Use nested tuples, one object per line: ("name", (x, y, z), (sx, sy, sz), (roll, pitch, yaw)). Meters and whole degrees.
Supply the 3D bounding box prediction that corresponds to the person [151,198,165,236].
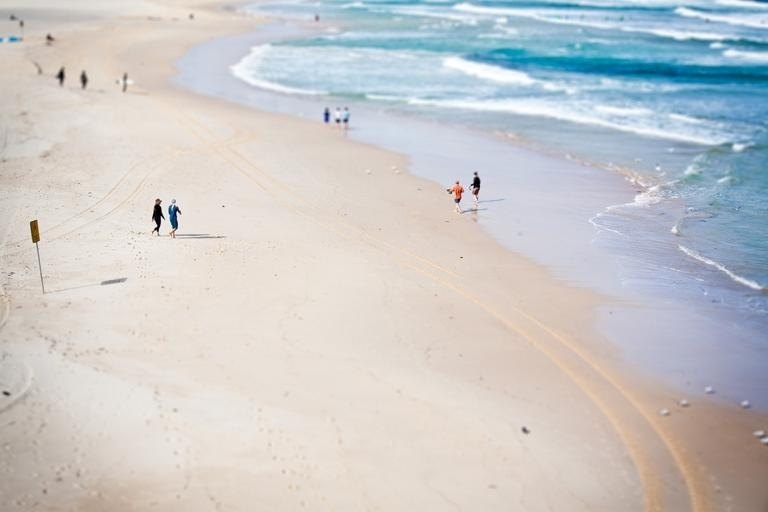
("person", (-10.072, -1.862, 29.144), (0.546, 1.644, 1.502), (-4, 33, -18))
